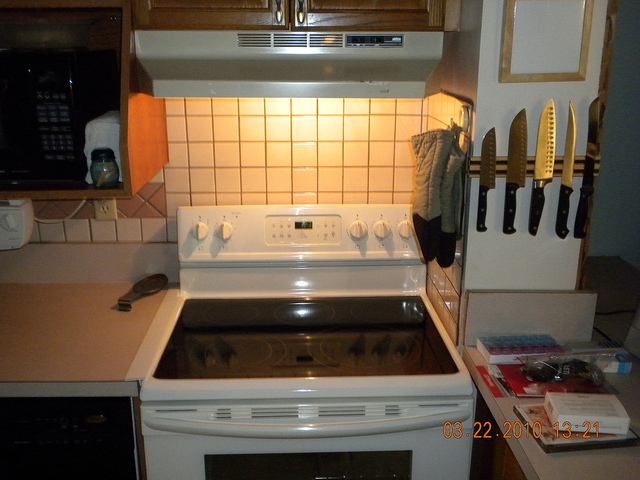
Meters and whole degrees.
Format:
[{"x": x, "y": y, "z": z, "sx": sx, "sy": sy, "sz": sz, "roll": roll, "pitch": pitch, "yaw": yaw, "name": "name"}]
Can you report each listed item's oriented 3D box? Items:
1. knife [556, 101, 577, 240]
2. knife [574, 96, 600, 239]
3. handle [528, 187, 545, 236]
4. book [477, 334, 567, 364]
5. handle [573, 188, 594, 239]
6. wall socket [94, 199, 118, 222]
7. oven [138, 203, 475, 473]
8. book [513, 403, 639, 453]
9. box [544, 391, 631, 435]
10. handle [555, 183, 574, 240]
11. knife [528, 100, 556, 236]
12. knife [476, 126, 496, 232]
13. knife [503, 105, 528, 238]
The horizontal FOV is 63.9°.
[{"x": 0.741, "y": -0.187, "z": 1.537, "sx": 0.047, "sy": 0.348, "sz": 0.016, "roll": 6, "pitch": 26, "yaw": 26, "name": "knife"}, {"x": 0.793, "y": -0.205, "z": 1.539, "sx": 0.050, "sy": 0.356, "sz": 0.028, "roll": 0, "pitch": 13, "yaw": 3, "name": "knife"}, {"x": 0.652, "y": -0.085, "z": 1.563, "sx": 0.038, "sy": 0.144, "sz": 0.036, "roll": 2, "pitch": 16, "yaw": 6, "name": "handle"}, {"x": 0.619, "y": 0.341, "z": 1.580, "sx": 0.224, "sy": 0.045, "sz": 0.147, "roll": -3, "pitch": 11, "yaw": 7, "name": "book"}, {"x": 0.797, "y": -0.078, "z": 1.561, "sx": 0.035, "sy": 0.160, "sz": 0.017, "roll": 5, "pitch": 6, "yaw": 11, "name": "handle"}, {"x": -0.778, "y": -0.106, "z": 1.856, "sx": 0.071, "sy": 0.078, "sz": 0.059, "roll": -7, "pitch": 12, "yaw": -21, "name": "wall socket"}, {"x": -0.027, "y": 0.517, "z": 1.879, "sx": 1.089, "sy": 1.086, "sz": 0.828, "roll": -1, "pitch": 23, "yaw": 0, "name": "oven"}, {"x": 0.645, "y": 0.468, "z": 1.298, "sx": 0.270, "sy": 0.053, "sz": 0.135, "roll": -3, "pitch": 11, "yaw": -4, "name": "book"}, {"x": 0.676, "y": 0.436, "z": 1.304, "sx": 0.179, "sy": 0.072, "sz": 0.088, "roll": -1, "pitch": 11, "yaw": 4, "name": "box"}, {"x": 0.751, "y": -0.092, "z": 1.567, "sx": 0.049, "sy": 0.202, "sz": 0.014, "roll": 5, "pitch": 16, "yaw": 19, "name": "handle"}, {"x": 0.671, "y": -0.207, "z": 1.543, "sx": 0.068, "sy": 0.402, "sz": 0.053, "roll": -2, "pitch": 11, "yaw": 0, "name": "knife"}, {"x": 0.496, "y": -0.171, "z": 1.528, "sx": 0.053, "sy": 0.316, "sz": 0.014, "roll": 0, "pitch": 9, "yaw": -7, "name": "knife"}, {"x": 0.584, "y": -0.192, "z": 1.534, "sx": 0.076, "sy": 0.365, "sz": 0.015, "roll": -4, "pitch": 11, "yaw": -18, "name": "knife"}]
